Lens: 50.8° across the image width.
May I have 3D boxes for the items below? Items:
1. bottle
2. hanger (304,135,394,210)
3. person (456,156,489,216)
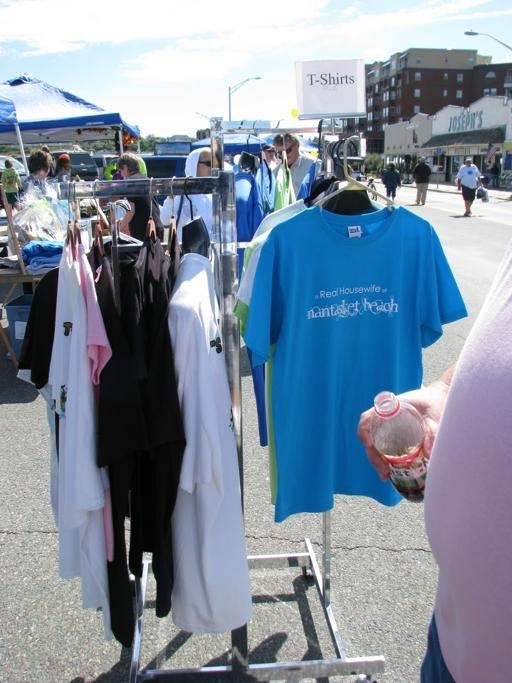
[{"bbox_3d":[0.323,0.233,1.172,0.081,0.252,0.087,-19,24,9],"label":"bottle"},{"bbox_3d":[0.366,-0.640,2.112,0.197,0.320,0.762,-3,13,3],"label":"hanger"},{"bbox_3d":[6.730,-4.967,17.031,0.586,1.784,0.505,-1,33,21],"label":"person"}]
